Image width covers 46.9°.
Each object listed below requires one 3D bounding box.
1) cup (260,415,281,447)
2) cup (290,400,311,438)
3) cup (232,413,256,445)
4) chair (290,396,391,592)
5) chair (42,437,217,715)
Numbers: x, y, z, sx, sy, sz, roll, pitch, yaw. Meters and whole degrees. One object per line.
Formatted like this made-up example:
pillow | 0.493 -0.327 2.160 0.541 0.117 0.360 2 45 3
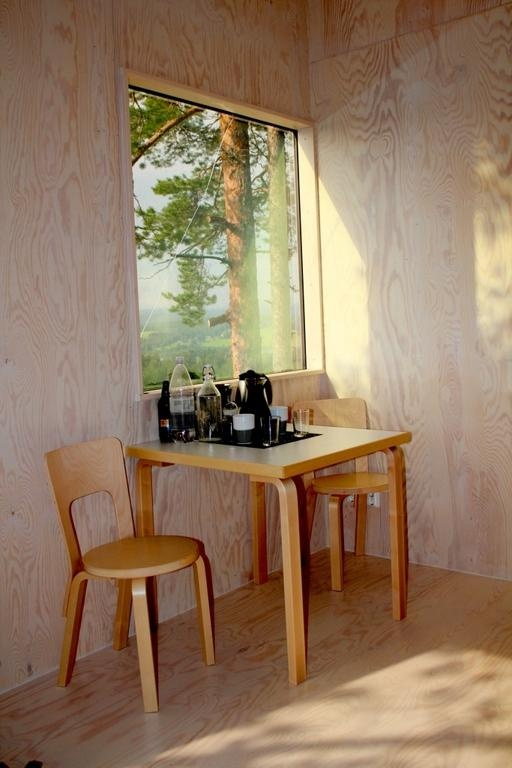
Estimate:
cup | 0.048 0.156 1.998 0.063 0.132 0.078 -2 3 -12
cup | 0.172 0.129 2.173 0.080 0.168 0.095 0 4 12
cup | -0.036 0.149 2.015 0.072 0.109 0.080 -4 11 -18
chair | 0.404 0.477 2.614 0.305 0.725 0.380 -4 4 -19
chair | -0.369 0.533 1.713 0.342 0.738 0.364 -3 3 16
